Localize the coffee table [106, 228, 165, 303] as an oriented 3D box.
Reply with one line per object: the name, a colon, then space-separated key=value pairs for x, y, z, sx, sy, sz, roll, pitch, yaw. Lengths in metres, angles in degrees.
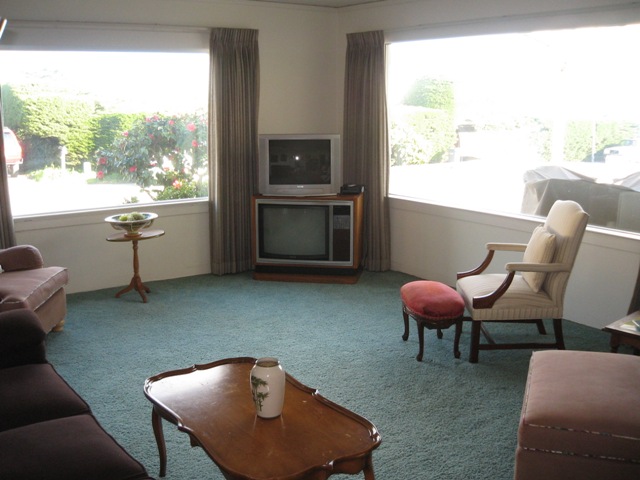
coffee table: x=-1.782 y=0.240 z=4.655 sx=0.500 sy=0.605 sz=0.507 roll=-2 pitch=8 yaw=-24

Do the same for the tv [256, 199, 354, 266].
tv: x=-0.151 y=-0.083 z=4.993 sx=1.054 sy=0.769 sz=0.656 roll=1 pitch=4 yaw=8

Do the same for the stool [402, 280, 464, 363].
stool: x=0.828 y=0.597 z=3.736 sx=0.427 sy=0.511 sz=0.557 roll=0 pitch=19 yaw=-1

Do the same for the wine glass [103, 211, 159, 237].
wine glass: x=-1.727 y=-0.162 z=4.486 sx=0.307 sy=0.131 sz=0.317 roll=1 pitch=9 yaw=1

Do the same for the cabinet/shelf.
cabinet/shelf: x=-0.055 y=0.008 z=5.369 sx=1.409 sy=1.245 sz=0.822 roll=1 pitch=4 yaw=8

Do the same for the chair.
chair: x=1.678 y=0.216 z=4.087 sx=1.098 sy=1.614 sz=1.085 roll=0 pitch=5 yaw=4
